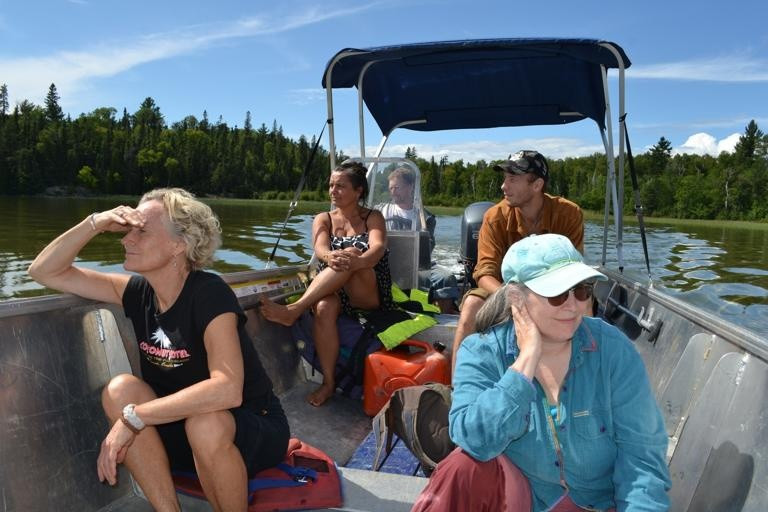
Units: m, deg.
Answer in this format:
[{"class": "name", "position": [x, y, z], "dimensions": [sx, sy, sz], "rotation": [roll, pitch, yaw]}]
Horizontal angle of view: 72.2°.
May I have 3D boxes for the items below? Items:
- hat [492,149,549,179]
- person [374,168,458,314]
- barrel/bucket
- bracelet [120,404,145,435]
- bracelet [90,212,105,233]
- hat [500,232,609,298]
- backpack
[{"class": "hat", "position": [0.978, -0.623, 3.661], "dimensions": [0.275, 0.158, 0.205], "rotation": [7, 6, -4]}, {"class": "person", "position": [0.227, -0.087, 4.732], "dimensions": [0.680, 1.571, 0.886], "rotation": [-9, -7, 2]}, {"class": "barrel/bucket", "position": [0.194, 0.782, 3.517], "dimensions": [0.598, 0.636, 0.350], "rotation": [-1, -2, 9]}, {"class": "bracelet", "position": [-1.025, 0.656, 2.136], "dimensions": [0.062, 0.117, 0.084], "rotation": [-38, 21, -18]}, {"class": "bracelet", "position": [-1.356, -0.157, 2.462], "dimensions": [0.035, 0.111, 0.073], "rotation": [-10, -4, -30]}, {"class": "hat", "position": [0.657, 0.007, 2.086], "dimensions": [0.321, 0.195, 0.488], "rotation": [-11, 8, -18]}, {"class": "backpack", "position": [0.134, 0.779, 2.622], "dimensions": [0.418, 0.486, 0.338], "rotation": [-13, -3, -9]}]
